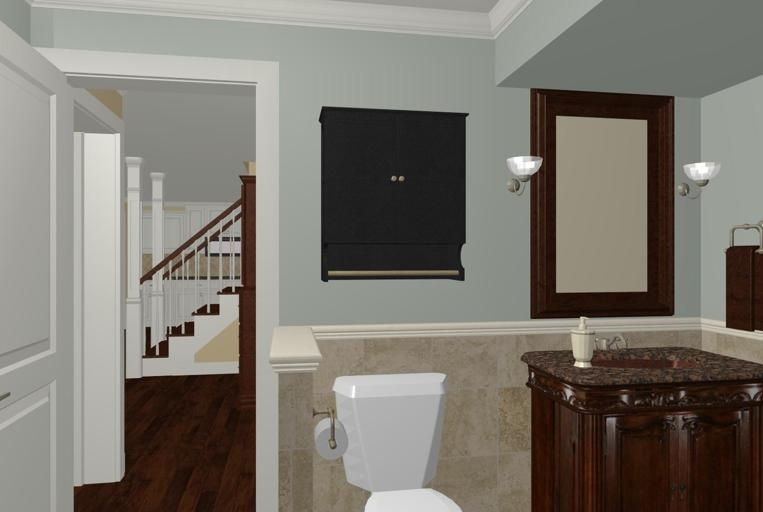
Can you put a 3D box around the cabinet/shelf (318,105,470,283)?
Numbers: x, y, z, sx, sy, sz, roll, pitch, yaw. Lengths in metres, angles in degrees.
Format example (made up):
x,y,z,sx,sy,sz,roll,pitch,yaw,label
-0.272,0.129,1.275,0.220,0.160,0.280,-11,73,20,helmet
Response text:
x,y,z,sx,sy,sz,roll,pitch,yaw,label
0.064,-0.412,3.984,1.258,1.267,0.514,1,-5,-10,cabinet/shelf

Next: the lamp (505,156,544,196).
x,y,z,sx,sy,sz,roll,pitch,yaw,label
0.913,-0.519,4.038,0.262,0.224,0.304,0,-1,-14,lamp
